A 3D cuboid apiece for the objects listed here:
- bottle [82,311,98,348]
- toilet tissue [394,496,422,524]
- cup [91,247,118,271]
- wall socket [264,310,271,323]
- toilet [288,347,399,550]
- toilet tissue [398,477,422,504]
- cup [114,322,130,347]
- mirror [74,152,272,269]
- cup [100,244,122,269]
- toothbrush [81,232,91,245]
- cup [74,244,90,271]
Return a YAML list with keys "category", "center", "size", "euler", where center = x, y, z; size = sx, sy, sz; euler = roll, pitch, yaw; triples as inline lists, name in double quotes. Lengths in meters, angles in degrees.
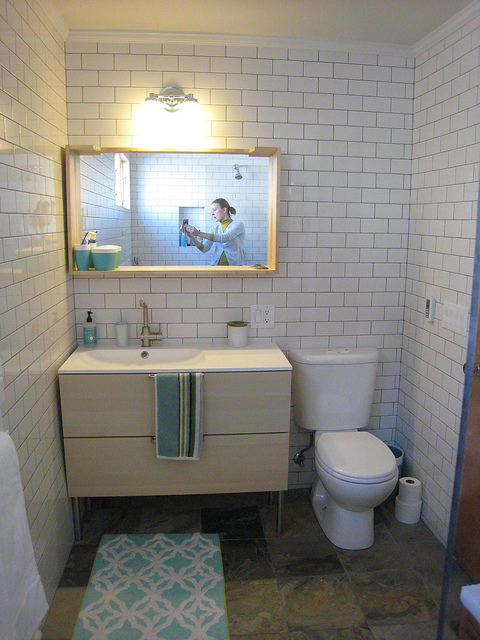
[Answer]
- category: "bottle"
  center: [-0.750, 0.046, 2.497]
  size: [0.075, 0.174, 0.080]
  euler: [1, 10, 0]
- category: "toilet tissue"
  center: [0.847, 0.959, 2.531]
  size: [0.110, 0.085, 0.113]
  euler: [2, 5, 2]
- category: "cup"
  center: [-0.638, -0.292, 2.347]
  size: [0.095, 0.087, 0.118]
  euler: [2, 15, 0]
- category: "wall socket"
  center: [0.143, -0.020, 2.632]
  size: [0.033, 0.067, 0.008]
  euler: [-3, 10, -22]
- category: "toilet"
  center: [0.504, 0.633, 2.465]
  size: [0.467, 0.814, 0.760]
  euler: [0, 12, -1]
- category: "toilet tissue"
  center: [0.854, 0.867, 2.526]
  size: [0.104, 0.119, 0.106]
  euler: [4, 10, 16]
- category: "cup"
  center: [-0.597, 0.070, 2.528]
  size: [0.074, 0.119, 0.097]
  euler: [-1, 10, -15]
- category: "mirror"
  center: [-0.313, -0.536, 2.461]
  size: [0.947, 0.566, 0.109]
  euler: [0, 10, -10]
- category: "cup"
  center: [-0.634, -0.315, 2.455]
  size: [0.104, 0.116, 0.098]
  euler: [2, 22, -1]
- category: "toothbrush"
  center: [-0.740, -0.393, 2.399]
  size: [0.025, 0.051, 0.041]
  euler: [10, 13, 42]
- category: "cup"
  center: [-0.737, -0.292, 2.336]
  size: [0.067, 0.120, 0.052]
  euler: [-2, 10, -19]
